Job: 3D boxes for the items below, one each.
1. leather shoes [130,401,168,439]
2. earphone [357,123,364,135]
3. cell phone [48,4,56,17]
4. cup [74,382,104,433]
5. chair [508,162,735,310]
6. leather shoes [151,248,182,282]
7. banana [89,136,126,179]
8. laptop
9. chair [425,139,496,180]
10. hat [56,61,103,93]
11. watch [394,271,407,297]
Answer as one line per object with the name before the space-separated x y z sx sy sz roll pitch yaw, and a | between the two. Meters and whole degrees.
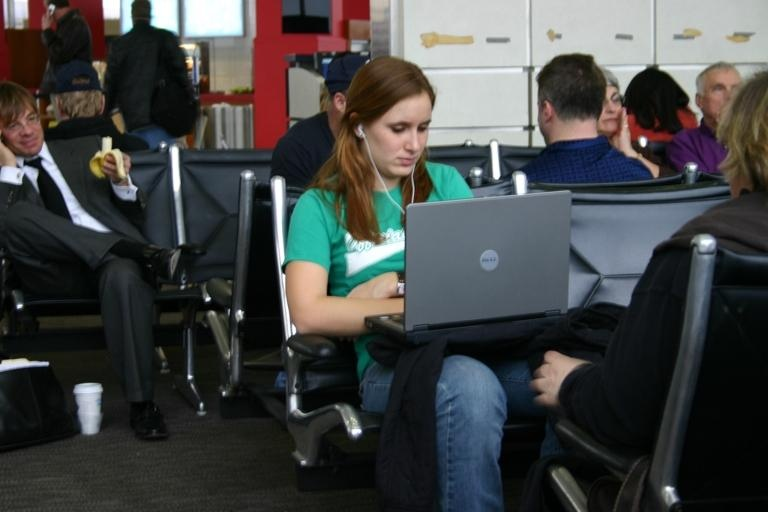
leather shoes | -1.156 0.798 3.434 0.139 0.149 0.228 -5 10 -35
earphone | -0.086 -0.443 2.463 0.025 0.036 0.031 2 -14 -24
cell phone | -3.197 -2.367 6.742 0.016 0.180 0.150 -3 7 -42
cup | -1.458 0.747 3.457 0.114 0.233 0.137 -3 8 -25
chair | 0.904 -0.121 2.771 0.442 0.681 0.530 -2 12 -10
leather shoes | -1.112 0.047 3.615 0.090 0.075 0.225 3 -19 -1
banana | -1.508 -0.515 3.858 0.195 0.249 0.073 -1 -2 6
laptop | 0.301 -0.047 2.261 0.538 0.456 0.432 -8 26 -10
chair | 0.473 -0.632 4.465 0.278 0.424 0.342 -2 7 -10
hat | -2.106 -1.200 4.834 0.281 0.163 0.400 -6 -4 -32
watch | 0.055 0.089 2.285 0.043 0.076 0.065 0 1 -5
